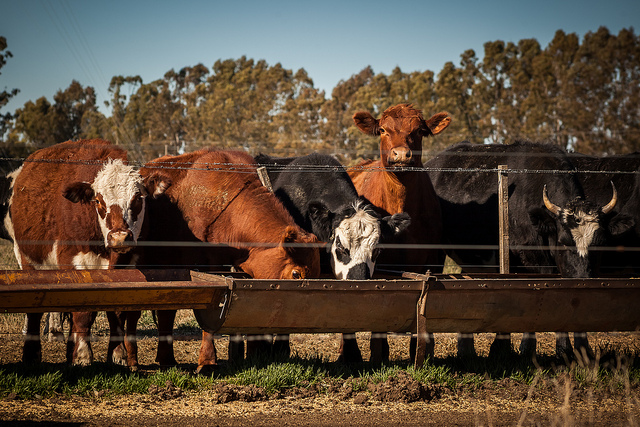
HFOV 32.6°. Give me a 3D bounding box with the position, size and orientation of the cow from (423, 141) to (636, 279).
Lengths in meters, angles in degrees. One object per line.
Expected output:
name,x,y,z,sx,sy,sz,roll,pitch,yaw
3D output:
cow,3.572,0.047,19.533,1.926,2.372,4.027,-8,15,-33

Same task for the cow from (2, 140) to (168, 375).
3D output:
cow,-4.102,0.685,18.624,3.063,3.611,1.866,8,14,34

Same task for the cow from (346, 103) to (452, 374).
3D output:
cow,1.411,-0.357,20.462,1.472,3.739,5.555,5,12,4

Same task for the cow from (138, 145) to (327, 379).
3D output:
cow,-1.968,0.751,18.836,4.483,3.400,1.322,3,-8,34
